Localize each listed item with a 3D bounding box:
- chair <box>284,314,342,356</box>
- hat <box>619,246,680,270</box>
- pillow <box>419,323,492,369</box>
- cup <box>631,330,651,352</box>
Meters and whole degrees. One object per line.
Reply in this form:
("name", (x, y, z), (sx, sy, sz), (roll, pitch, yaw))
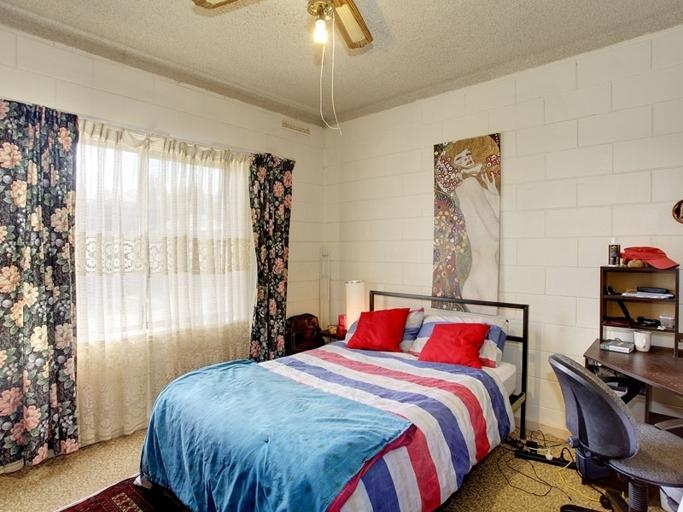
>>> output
("chair", (-0.377, 0.849, 5.590), (0.461, 0.426, 0.509), (-6, -1, 9))
("hat", (2.305, 0.006, 3.812), (0.178, 0.092, 0.284), (-8, 12, -36))
("pillow", (0.943, 0.731, 4.254), (0.513, 0.329, 0.349), (9, 14, 25))
("cup", (2.235, 0.634, 3.761), (0.109, 0.152, 0.144), (-5, -13, 38))
